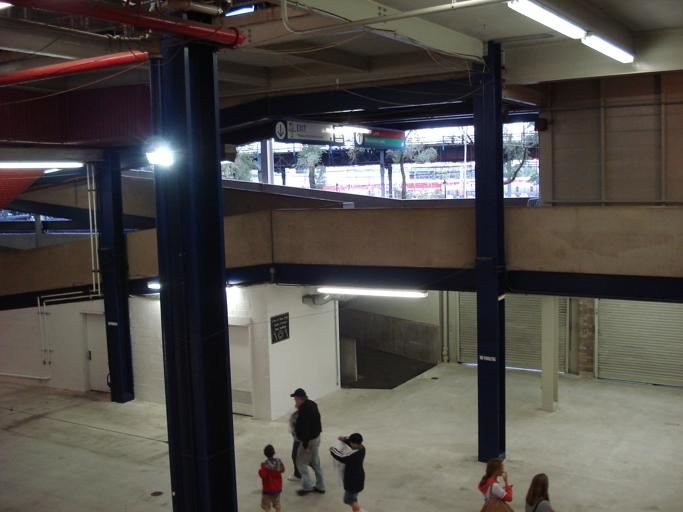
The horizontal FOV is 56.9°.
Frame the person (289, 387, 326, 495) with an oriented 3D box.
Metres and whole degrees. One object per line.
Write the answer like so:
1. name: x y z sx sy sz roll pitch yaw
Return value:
1. person: -0.653 3.628 12.469 0.563 2.064 0.539 -3 7 -5
